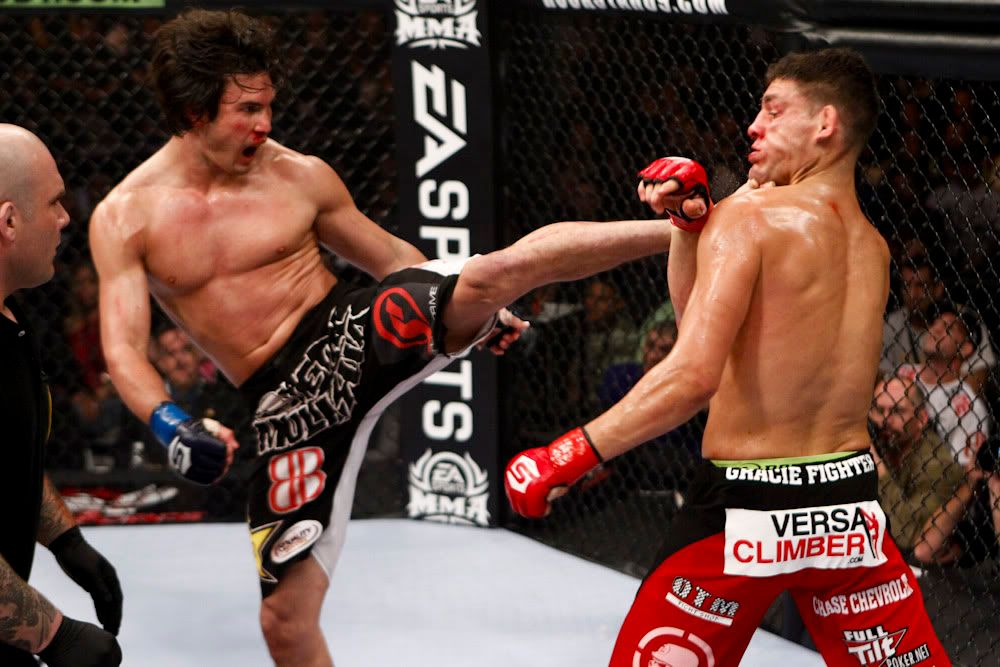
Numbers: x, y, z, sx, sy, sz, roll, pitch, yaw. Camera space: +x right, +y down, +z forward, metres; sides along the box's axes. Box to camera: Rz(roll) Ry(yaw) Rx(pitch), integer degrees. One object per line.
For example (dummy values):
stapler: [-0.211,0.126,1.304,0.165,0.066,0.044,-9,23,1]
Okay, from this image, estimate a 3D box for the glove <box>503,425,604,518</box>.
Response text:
glove: [0.151,0.359,2.570,0.169,0.269,0.106,53,10,24]

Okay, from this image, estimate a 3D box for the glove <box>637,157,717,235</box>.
glove: [0.468,-0.356,2.663,0.164,0.195,0.100,-1,15,41]

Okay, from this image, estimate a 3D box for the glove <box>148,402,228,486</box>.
glove: [-0.899,0.306,3.028,0.273,0.192,0.133,37,51,14]
